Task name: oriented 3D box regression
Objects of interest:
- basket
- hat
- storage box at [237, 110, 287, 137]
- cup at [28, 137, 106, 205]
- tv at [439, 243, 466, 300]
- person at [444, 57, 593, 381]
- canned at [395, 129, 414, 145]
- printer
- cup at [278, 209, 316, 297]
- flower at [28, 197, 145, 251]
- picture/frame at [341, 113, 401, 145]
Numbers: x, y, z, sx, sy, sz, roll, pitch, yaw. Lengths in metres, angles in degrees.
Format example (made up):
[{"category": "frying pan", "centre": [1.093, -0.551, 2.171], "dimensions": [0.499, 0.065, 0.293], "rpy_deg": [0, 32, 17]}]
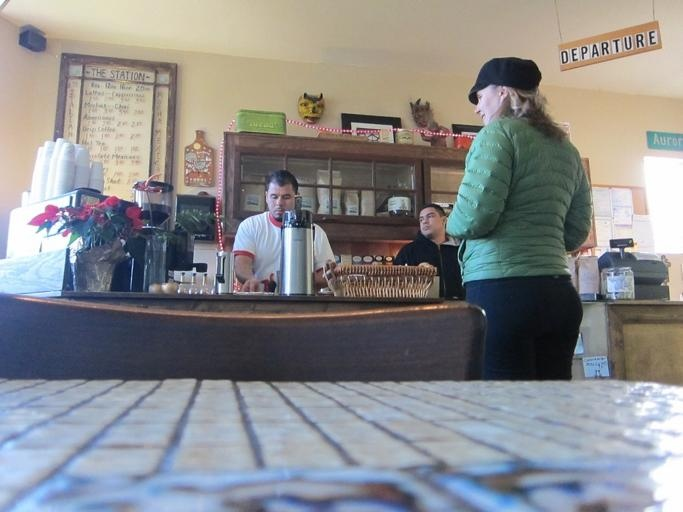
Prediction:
[{"category": "basket", "centre": [0.110, 0.075, 1.605], "dimensions": [0.304, 0.096, 0.095], "rpy_deg": [0, -5, 22]}, {"category": "hat", "centre": [0.546, -0.583, 1.849], "dimensions": [0.196, 0.098, 0.141], "rpy_deg": [7, 19, 30]}, {"category": "storage box", "centre": [-0.584, -0.952, 3.955], "dimensions": [0.280, 0.132, 0.202], "rpy_deg": [0, 3, -13]}, {"category": "cup", "centre": [-1.106, -0.344, 2.244], "dimensions": [0.262, 0.288, 0.319], "rpy_deg": [4, -5, -27]}, {"category": "tv", "centre": [0.669, 0.100, 3.341], "dimensions": [0.248, 0.335, 0.117], "rpy_deg": [1, -6, 2]}, {"category": "person", "centre": [0.580, -0.143, 1.749], "dimensions": [0.480, 1.013, 0.389], "rpy_deg": [2, -5, 1]}, {"category": "canned", "centre": [0.503, -0.926, 4.348], "dimensions": [0.141, 0.119, 0.138], "rpy_deg": [-5, 10, -31]}, {"category": "printer", "centre": [1.511, 0.092, 2.948], "dimensions": [0.460, 0.319, 0.229], "rpy_deg": [1, -8, -19]}, {"category": "cup", "centre": [-0.136, -0.014, 1.739], "dimensions": [0.102, 0.264, 0.062], "rpy_deg": [2, -5, -4]}, {"category": "flower", "centre": [-0.821, -0.107, 1.798], "dimensions": [0.238, 0.105, 0.235], "rpy_deg": [1, -1, -17]}, {"category": "picture/frame", "centre": [0.217, -0.993, 4.356], "dimensions": [0.461, 0.020, 0.464], "rpy_deg": [8, 37, -5]}]
